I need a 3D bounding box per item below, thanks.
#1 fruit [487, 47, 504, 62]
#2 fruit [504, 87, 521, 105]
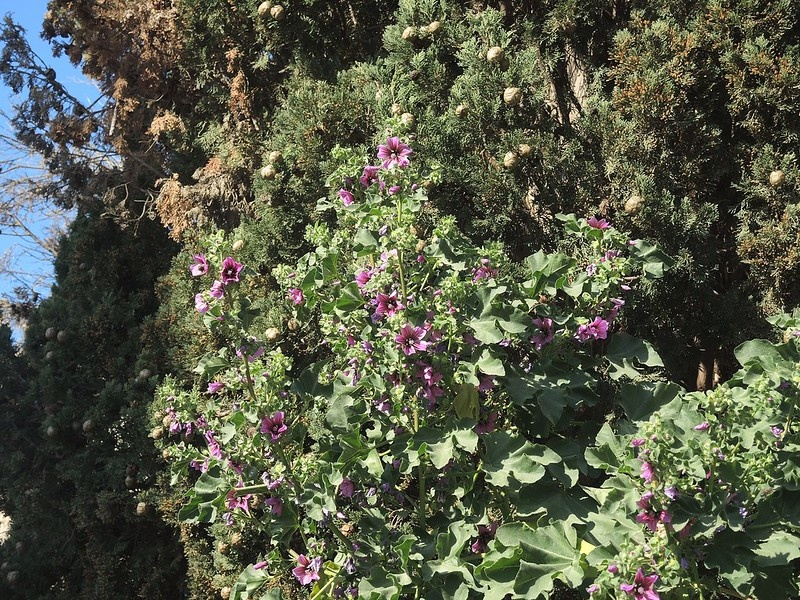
[{"bbox_3d":[0.596,-1.547,5.918,0.078,0.077,0.098,-17,7,-40],"label":"fruit"},{"bbox_3d":[0.706,-1.266,5.854,0.104,0.104,0.057,-15,-23,-6],"label":"fruit"}]
